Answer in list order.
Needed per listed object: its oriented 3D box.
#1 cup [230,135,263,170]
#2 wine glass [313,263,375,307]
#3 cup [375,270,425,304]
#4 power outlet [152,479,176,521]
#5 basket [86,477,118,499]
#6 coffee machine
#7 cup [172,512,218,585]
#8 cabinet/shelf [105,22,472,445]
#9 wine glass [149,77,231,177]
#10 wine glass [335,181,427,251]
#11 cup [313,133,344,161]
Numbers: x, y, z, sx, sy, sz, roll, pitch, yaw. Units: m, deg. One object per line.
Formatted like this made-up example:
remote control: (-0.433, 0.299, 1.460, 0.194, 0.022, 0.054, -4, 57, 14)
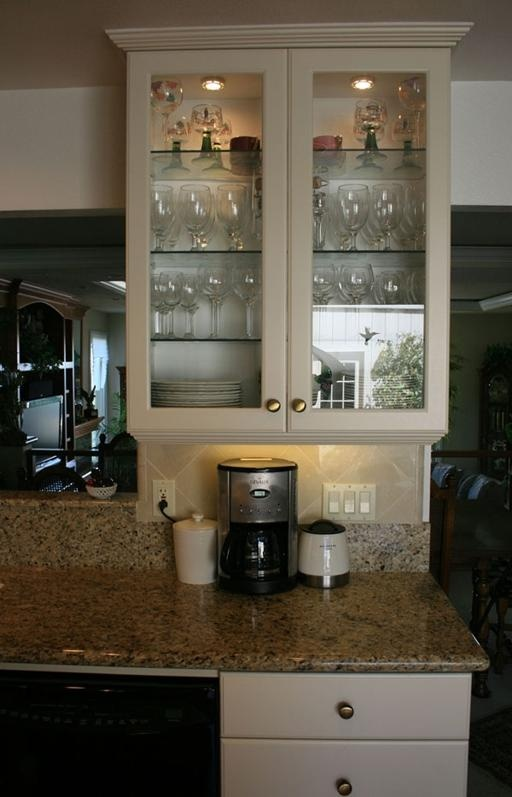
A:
cup: (-0.027, -0.605, 1.714, 0.072, 0.092, 0.085, 1, 22, 5)
wine glass: (0.216, -0.276, 1.717, 0.084, 0.086, 0.145, 1, -3, -4)
cup: (0.360, -0.273, 1.713, 0.095, 0.069, 0.083, 0, 8, 2)
power outlet: (-0.267, 0.290, 2.003, 0.065, 0.109, 0.019, -1, 6, -5)
basket: (-0.466, 0.261, 2.060, 0.064, 0.034, 0.064, -2, 0, -5)
coffee machine: (-0.003, 0.324, 1.799, 0.271, 0.401, 0.286, 1, 0, -5)
cup: (-0.158, 0.412, 1.838, 0.121, 0.164, 0.159, 0, -2, -1)
cabinet/shelf: (0.078, -0.415, 1.705, 0.980, 1.170, 0.309, 0, 1, 3)
wine glass: (-0.168, -0.680, 1.780, 0.232, 0.232, 0.165, -5, 8, -34)
wine glass: (0.301, -0.431, 1.720, 0.200, 0.198, 0.163, 1, 5, 5)
cup: (0.177, -0.616, 1.709, 0.068, 0.051, 0.067, 2, 10, 0)
